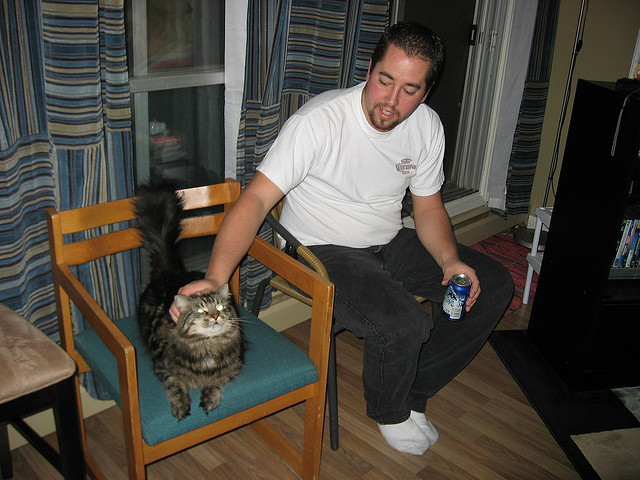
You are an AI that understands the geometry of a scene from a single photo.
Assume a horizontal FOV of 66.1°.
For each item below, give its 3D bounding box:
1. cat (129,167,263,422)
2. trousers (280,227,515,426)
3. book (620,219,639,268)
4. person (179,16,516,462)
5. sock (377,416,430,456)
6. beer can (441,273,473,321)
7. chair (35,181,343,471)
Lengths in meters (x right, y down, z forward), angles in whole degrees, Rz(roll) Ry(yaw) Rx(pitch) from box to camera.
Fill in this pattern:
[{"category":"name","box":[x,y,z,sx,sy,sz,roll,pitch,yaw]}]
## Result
[{"category":"cat","box":[-0.464,0.167,1.766,0.376,0.595,0.662,-9,28,-24]},{"category":"trousers","box":[0.379,0.228,2.520,0.673,1.153,1.032,-22,32,-33]},{"category":"book","box":[1.545,0.020,2.468,0.043,0.187,0.184,20,11,25]},{"category":"person","box":[0.208,0.000,2.132,1.088,1.750,1.122,18,30,24]},{"category":"sock","box":[0.370,0.868,2.155,0.227,0.096,0.129,15,36,37]},{"category":"beer can","box":[0.572,0.259,2.065,0.106,0.244,0.140,10,26,16]},{"category":"chair","box":[-0.504,0.322,1.850,0.726,1.024,0.765,-16,36,-27]}]
